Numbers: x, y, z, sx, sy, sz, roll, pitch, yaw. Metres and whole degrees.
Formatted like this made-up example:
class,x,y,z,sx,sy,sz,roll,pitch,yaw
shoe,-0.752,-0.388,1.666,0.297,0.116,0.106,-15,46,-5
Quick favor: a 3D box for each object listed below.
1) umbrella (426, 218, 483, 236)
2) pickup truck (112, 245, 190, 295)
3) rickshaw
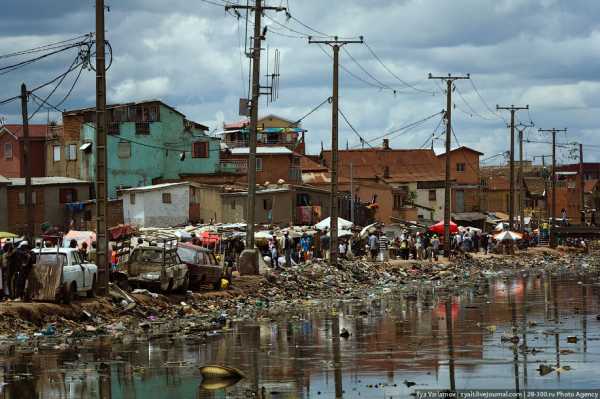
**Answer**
class,x,y,z,sx,sy,sz,roll,pitch,yaw
umbrella,10.792,2.162,94.085,2.389,0.879,2.202,-1,-8,6
pickup truck,-7.081,3.451,62.220,2.631,2.201,4.832,5,2,9
rickshaw,-11.458,3.555,58.372,1.290,2.756,1.226,4,-1,-3
